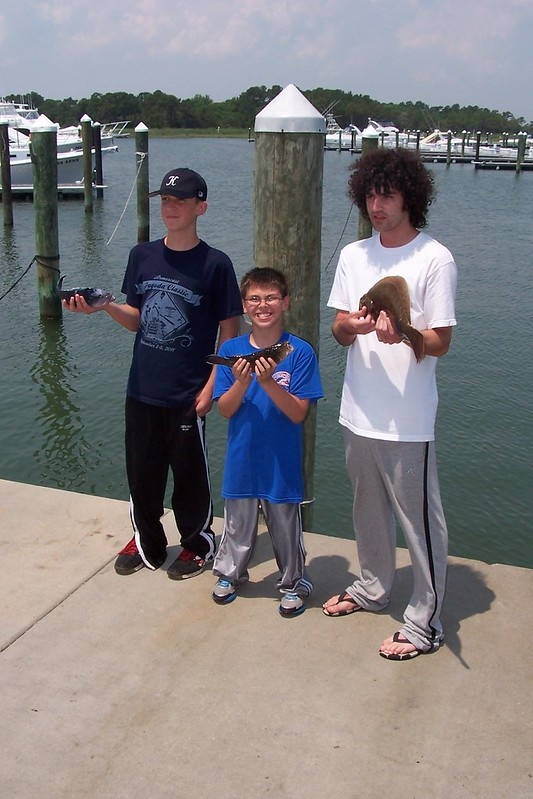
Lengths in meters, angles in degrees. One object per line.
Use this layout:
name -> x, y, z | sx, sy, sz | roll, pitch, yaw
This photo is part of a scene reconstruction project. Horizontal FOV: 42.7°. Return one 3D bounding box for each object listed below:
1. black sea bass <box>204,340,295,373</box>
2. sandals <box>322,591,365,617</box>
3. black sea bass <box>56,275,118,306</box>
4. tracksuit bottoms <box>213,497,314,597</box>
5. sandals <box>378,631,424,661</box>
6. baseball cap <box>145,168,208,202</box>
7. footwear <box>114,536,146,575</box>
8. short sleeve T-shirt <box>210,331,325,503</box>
black sea bass -> -0.053, -0.167, 2.669 | 0.348, 0.121, 0.051 | -12, 22, 13
sandals -> 0.314, 0.840, 2.793 | 0.148, 0.041, 0.077 | -1, 16, -23
black sea bass -> -0.814, -0.463, 3.047 | 0.215, 0.080, 0.156 | 3, 29, -3
tracksuit bottoms -> -0.020, 0.599, 2.930 | 0.384, 0.134, 0.525 | 1, 41, 1
sandals -> 0.494, 0.905, 2.487 | 0.100, 0.061, 0.177 | 0, -2, 11
baseball cap -> -0.370, -0.916, 3.011 | 0.240, 0.128, 0.161 | -4, 24, -44
footwear -> -0.621, 0.736, 3.118 | 0.073, 0.079, 0.209 | 4, 2, 7
short sleeve T-shirt -> 0.007, 0.119, 2.798 | 0.449, 0.752, 0.400 | -2, 12, -3
